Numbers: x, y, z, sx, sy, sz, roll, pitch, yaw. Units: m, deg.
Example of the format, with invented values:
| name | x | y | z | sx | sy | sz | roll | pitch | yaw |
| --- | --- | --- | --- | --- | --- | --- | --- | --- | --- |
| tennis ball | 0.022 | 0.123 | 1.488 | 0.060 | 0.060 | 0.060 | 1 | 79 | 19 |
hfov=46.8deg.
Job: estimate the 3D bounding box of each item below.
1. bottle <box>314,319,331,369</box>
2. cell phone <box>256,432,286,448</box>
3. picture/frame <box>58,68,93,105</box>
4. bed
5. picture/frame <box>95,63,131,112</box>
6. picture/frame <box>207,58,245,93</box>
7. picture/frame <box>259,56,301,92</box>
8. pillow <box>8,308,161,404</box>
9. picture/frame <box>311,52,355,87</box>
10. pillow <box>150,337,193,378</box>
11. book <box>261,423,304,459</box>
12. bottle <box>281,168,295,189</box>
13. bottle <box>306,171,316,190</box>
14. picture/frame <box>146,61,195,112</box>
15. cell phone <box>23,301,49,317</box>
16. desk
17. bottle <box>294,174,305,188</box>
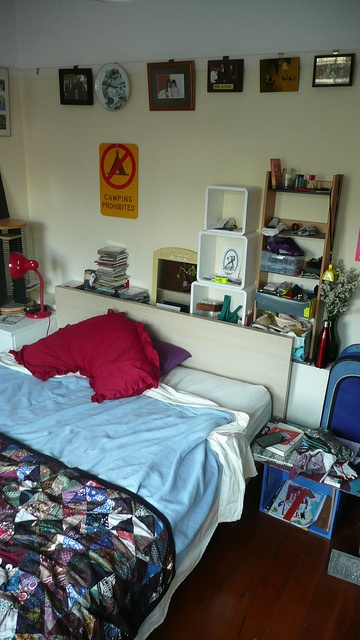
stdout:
| name | x | y | z | sx | sy | sz | roll | pitch | yaw |
| --- | --- | --- | --- | --- | --- | --- | --- | --- | --- |
| bottle | 0.768 | 0.129 | 2.213 | 0.083 | 0.264 | 0.087 | 1 | 12 | 0 |
| cell phone | 0.450 | 0.591 | 2.065 | 0.162 | 0.021 | 0.093 | -6 | 16 | -28 |
| picture/frame | -0.696 | -1.589 | 2.816 | 0.224 | 0.245 | 0.026 | 16 | 31 | 27 |
| bed | 0.163 | 0.891 | 3.154 | 1.948 | 1.337 | 0.685 | 12 | 22 | 28 |
| picture/frame | -0.426 | -1.507 | 2.674 | 0.227 | 0.296 | 0.042 | 20 | 32 | 32 |
| picture/frame | 0.255 | -1.339 | 2.268 | 0.163 | 0.167 | 0.024 | 16 | 29 | 31 |
| picture/frame | 0.510 | -1.254 | 2.113 | 0.170 | 0.142 | 0.024 | 14 | 29 | 34 |
| pillow | -0.482 | 0.180 | 2.394 | 0.880 | 0.321 | 0.491 | 10 | 16 | 32 |
| picture/frame | 0.725 | -1.182 | 1.961 | 0.155 | 0.124 | 0.017 | 19 | 33 | 32 |
| pillow | -0.069 | 0.205 | 2.509 | 0.193 | 0.065 | 0.192 | 19 | 27 | 32 |
| book | 0.527 | 0.595 | 2.073 | 0.114 | 0.031 | 0.123 | 12 | 25 | 31 |
| bottle | 0.570 | -0.753 | 2.208 | 0.059 | 0.116 | 0.158 | 3 | 13 | 8 |
| bottle | 0.661 | -0.696 | 2.105 | 0.042 | 0.071 | 0.063 | 5 | 13 | 18 |
| picture/frame | -0.046 | -1.392 | 2.460 | 0.269 | 0.266 | 0.020 | 12 | 29 | 25 |
| cell phone | -1.068 | -0.074 | 3.149 | 0.111 | 0.066 | 0.111 | -9 | 22 | -40 |
| desk | 0.606 | 0.624 | 2.051 | 0.542 | 0.444 | 0.380 | 14 | 26 | 29 |
| bottle | 0.604 | -0.702 | 2.115 | 0.044 | 0.070 | 0.051 | 5 | 13 | 16 |
